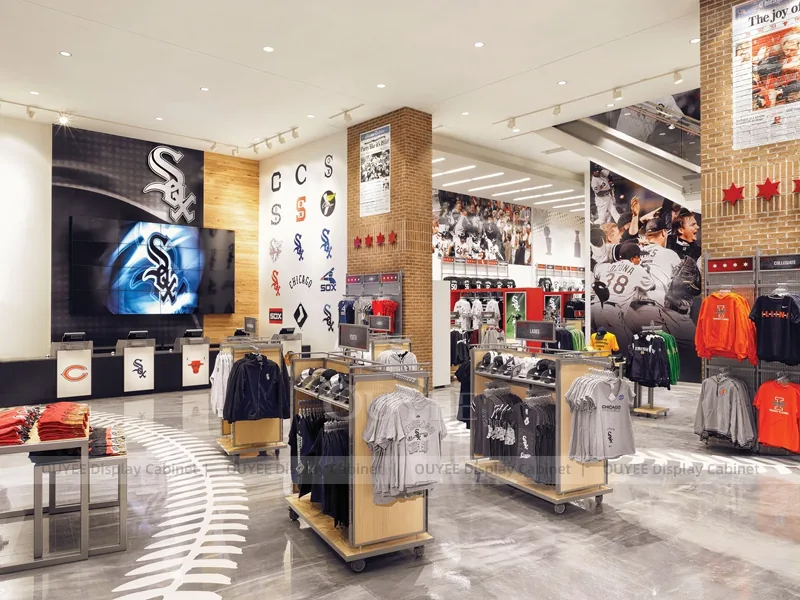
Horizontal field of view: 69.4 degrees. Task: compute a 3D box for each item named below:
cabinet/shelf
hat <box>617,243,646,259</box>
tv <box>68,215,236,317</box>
[{"bbox_3d":[0.010,1.497,7.939,4.046,2.095,4.123,-5,9,-29],"label":"cabinet/shelf"},{"bbox_3d":[6.034,-1.287,15.103,0.350,0.448,0.435,10,39,47],"label":"hat"},{"bbox_3d":[-6.084,-0.760,14.546,3.838,2.439,0.077,-1,9,-36],"label":"tv"}]
